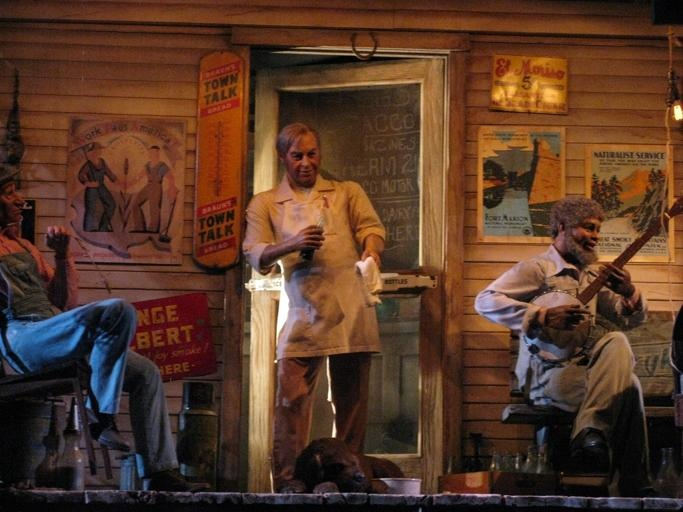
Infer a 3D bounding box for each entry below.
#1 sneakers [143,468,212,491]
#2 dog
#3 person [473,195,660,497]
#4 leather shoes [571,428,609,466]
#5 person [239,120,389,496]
[{"bbox_3d":[-1.159,1.540,10.494,0.515,0.202,0.164,1,-9,-2],"label":"sneakers"},{"bbox_3d":[-0.017,1.514,11.029,1.100,0.387,0.535,3,-4,-43],"label":"dog"},{"bbox_3d":[1.895,0.623,11.663,1.033,2.296,1.307,2,-4,-36],"label":"person"},{"bbox_3d":[1.795,1.387,11.018,0.237,0.157,0.285,5,41,9],"label":"leather shoes"},{"bbox_3d":[-0.217,0.359,11.747,1.077,2.819,0.731,0,-3,1],"label":"person"}]
